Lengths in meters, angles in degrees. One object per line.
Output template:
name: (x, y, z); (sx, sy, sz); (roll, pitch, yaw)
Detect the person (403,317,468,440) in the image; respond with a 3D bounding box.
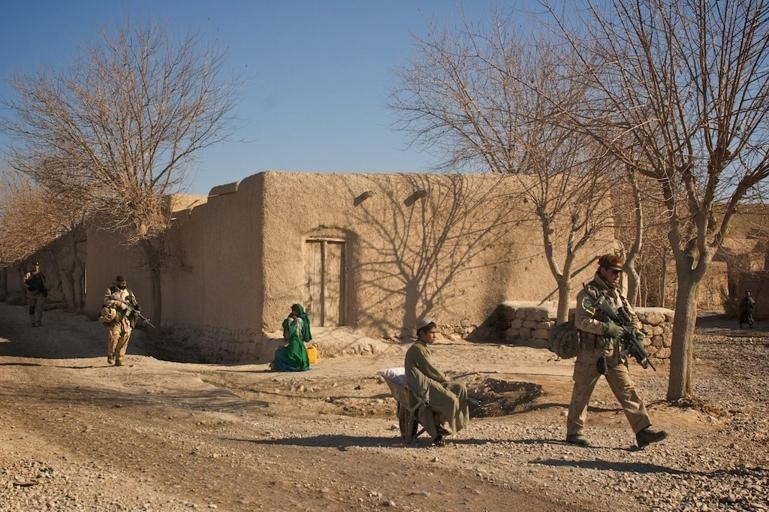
person: (0.782, 1.870, 11.459); (1.336, 1.946, 0.937); (-1, -1, 1)

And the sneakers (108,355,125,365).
sneakers: (-6.200, 2.404, 17.059); (0.342, 0.242, 0.274); (1, 0, -10)

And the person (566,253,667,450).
person: (3.541, 1.381, 11.411); (1.461, 2.877, 0.982); (0, -1, 37)

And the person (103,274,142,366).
person: (-6.141, 1.467, 17.123); (0.801, 2.074, 1.110); (-2, 7, -19)

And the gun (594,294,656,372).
gun: (3.722, 1.162, 11.278); (0.535, 1.374, 1.168); (0, -1, -15)

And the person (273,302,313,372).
person: (-2.191, 1.864, 17.120); (0.899, 1.456, 0.798); (-1, 6, -10)
